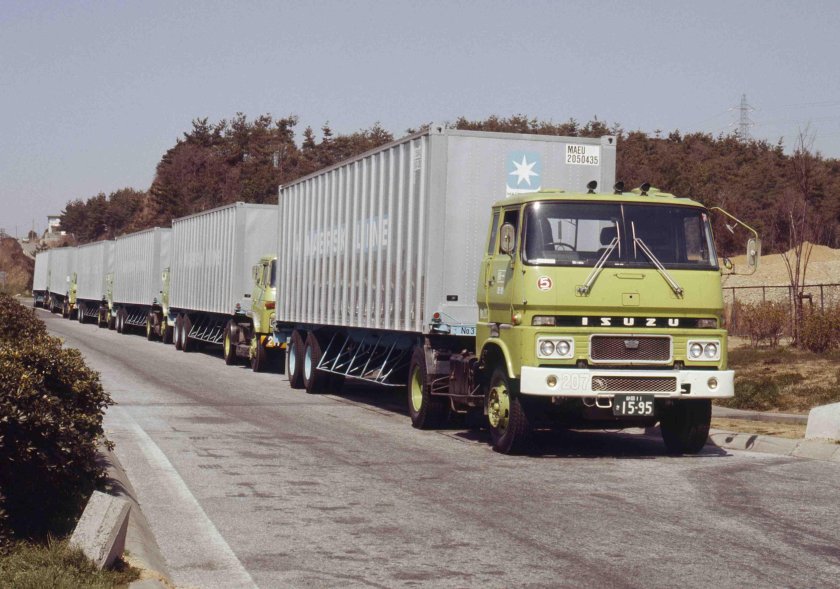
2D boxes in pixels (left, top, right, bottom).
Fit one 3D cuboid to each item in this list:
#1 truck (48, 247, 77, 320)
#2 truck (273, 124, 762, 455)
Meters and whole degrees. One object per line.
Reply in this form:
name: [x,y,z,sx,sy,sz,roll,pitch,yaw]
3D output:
truck: [-26.163,-0.511,59.661,1.788,3.970,7.001,9,-2,-35]
truck: [0.673,-0.054,16.563,3.679,5.459,12.429,5,-2,-24]
